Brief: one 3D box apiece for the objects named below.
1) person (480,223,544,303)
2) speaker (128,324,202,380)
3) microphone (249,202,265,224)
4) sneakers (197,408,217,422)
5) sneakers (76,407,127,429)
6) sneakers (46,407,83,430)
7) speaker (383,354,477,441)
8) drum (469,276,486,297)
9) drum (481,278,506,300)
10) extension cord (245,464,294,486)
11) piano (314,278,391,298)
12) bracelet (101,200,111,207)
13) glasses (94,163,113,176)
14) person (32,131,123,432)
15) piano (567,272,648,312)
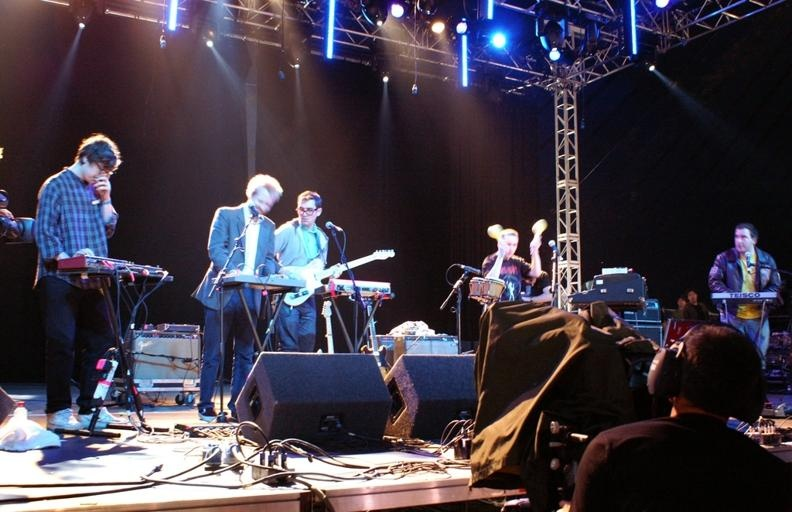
[{"bbox_3d":[1.605,0.037,9.855,0.811,1.197,1.672,-2,-7,12],"label":"person"},{"bbox_3d":[-2.777,1.202,9.165,1.009,0.973,0.582,5,-12,-29],"label":"speaker"},{"bbox_3d":[-1.379,-0.429,7.473,0.096,0.320,0.082,4,-10,-40],"label":"microphone"},{"bbox_3d":[-1.734,1.499,6.986,0.169,0.137,0.362,2,-8,-27],"label":"sneakers"},{"bbox_3d":[-2.577,1.453,6.518,0.516,0.237,0.189,3,-3,-24],"label":"sneakers"},{"bbox_3d":[-2.802,1.382,6.274,0.296,0.144,0.161,-1,-9,32],"label":"sneakers"},{"bbox_3d":[0.265,1.212,6.204,0.758,0.675,0.689,9,-20,-28],"label":"speaker"},{"bbox_3d":[1.082,0.411,9.192,0.215,0.176,0.223,3,-1,0],"label":"drum"},{"bbox_3d":[1.222,0.413,9.069,0.249,0.228,0.250,2,0,-20],"label":"drum"},{"bbox_3d":[-0.828,1.487,4.992,0.305,0.134,0.095,-2,-7,8],"label":"extension cord"},{"bbox_3d":[-0.408,0.356,8.113,0.789,0.197,0.449,5,-10,-40],"label":"piano"},{"bbox_3d":[-2.627,-0.479,6.712,0.056,0.042,0.056,2,-7,-15],"label":"bracelet"},{"bbox_3d":[-2.636,-0.773,6.700,0.094,0.081,0.105,3,-7,-30],"label":"glasses"},{"bbox_3d":[-2.799,0.190,6.482,0.673,2.593,0.375,2,-7,-27],"label":"person"},{"bbox_3d":[2.375,0.396,8.175,0.787,0.400,0.421,-4,-8,22],"label":"piano"}]
